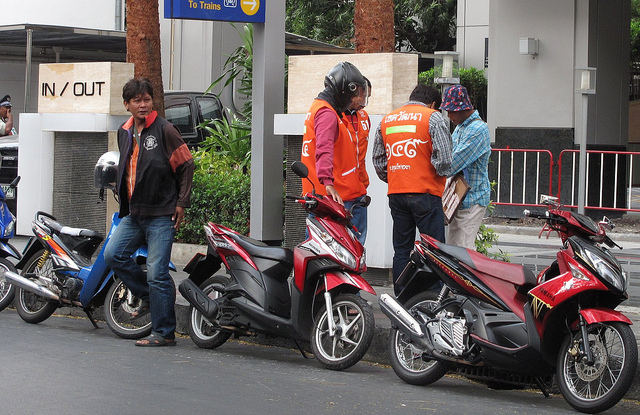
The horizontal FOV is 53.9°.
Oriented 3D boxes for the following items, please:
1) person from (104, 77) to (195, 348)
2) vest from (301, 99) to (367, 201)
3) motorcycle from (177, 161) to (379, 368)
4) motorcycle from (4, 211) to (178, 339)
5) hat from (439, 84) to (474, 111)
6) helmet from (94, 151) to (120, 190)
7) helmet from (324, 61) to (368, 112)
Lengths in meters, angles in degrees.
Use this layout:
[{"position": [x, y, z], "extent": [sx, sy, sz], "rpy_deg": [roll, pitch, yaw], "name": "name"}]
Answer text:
[{"position": [-1.966, 0.052, 7.164], "extent": [0.956, 2.995, 0.536], "rpy_deg": [4, 6, 22], "name": "person"}, {"position": [0.212, -0.613, 7.496], "extent": [0.868, 1.490, 0.975], "rpy_deg": [-3, 1, -2], "name": "vest"}, {"position": [-0.274, 0.929, 7.303], "extent": [2.761, 2.082, 1.388], "rpy_deg": [-3, -16, 40], "name": "motorcycle"}, {"position": [-2.529, 0.981, 8.383], "extent": [2.507, 1.923, 1.269], "rpy_deg": [3, -11, 25], "name": "motorcycle"}, {"position": [1.591, -1.294, 7.391], "extent": [0.316, 0.205, 0.304], "rpy_deg": [1, 10, 7], "name": "hat"}, {"position": [-3.111, -0.577, 9.146], "extent": [0.340, 0.494, 0.474], "rpy_deg": [8, 8, 27], "name": "helmet"}, {"position": [0.278, -1.322, 6.929], "extent": [0.551, 0.555, 0.457], "rpy_deg": [-10, 20, -39], "name": "helmet"}]
